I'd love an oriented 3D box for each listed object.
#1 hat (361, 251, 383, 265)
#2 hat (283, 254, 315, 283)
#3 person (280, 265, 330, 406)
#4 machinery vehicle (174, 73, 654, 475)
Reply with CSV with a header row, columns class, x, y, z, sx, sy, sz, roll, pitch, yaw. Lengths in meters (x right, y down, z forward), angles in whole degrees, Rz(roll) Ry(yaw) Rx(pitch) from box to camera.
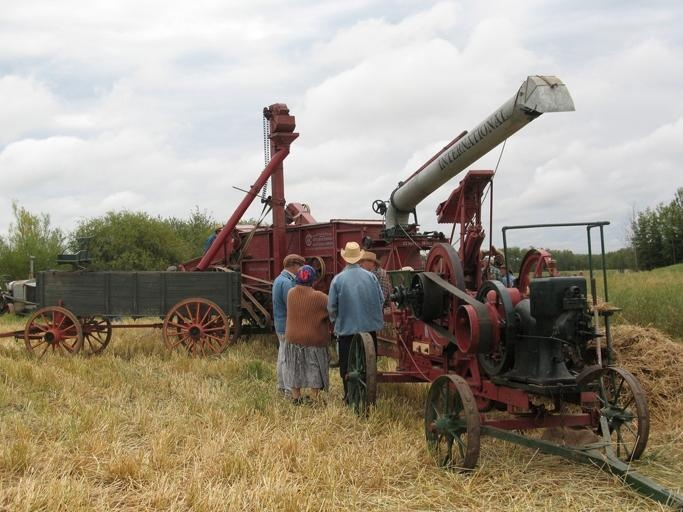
class,x,y,z,sx,sy,sz,roll,pitch,yaw
hat,0.450,0.015,10.070,0.263,0.114,0.243,8,-4,-8
hat,-0.606,0.192,9.717,0.430,0.436,0.368,15,-3,-16
person,-0.472,1.122,9.745,0.763,2.039,0.665,2,15,6
machinery vehicle,1.353,0.250,12.058,3.907,6.176,10.055,1,-2,-34
